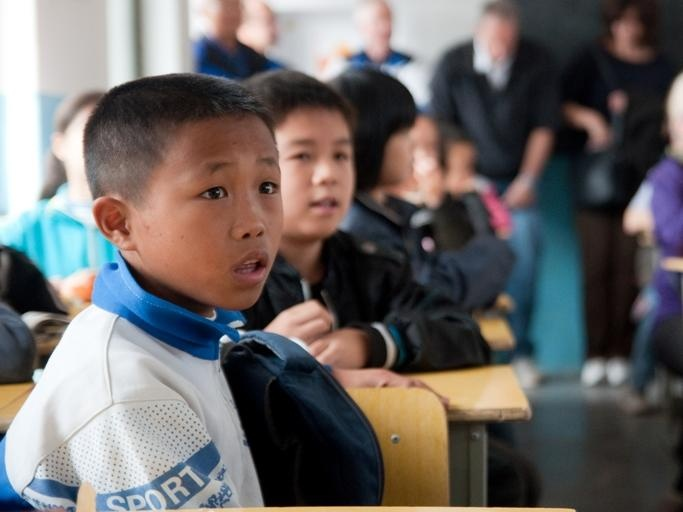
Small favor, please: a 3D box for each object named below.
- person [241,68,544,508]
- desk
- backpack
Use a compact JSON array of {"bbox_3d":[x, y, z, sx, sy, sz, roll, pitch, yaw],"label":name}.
[{"bbox_3d":[0.094,-0.077,1.914,0.651,0.871,0.506,1,3,6],"label":"person"},{"bbox_3d":[-0.140,0.279,1.258,0.526,0.209,0.390,14,-2,-9],"label":"desk"},{"bbox_3d":[-0.029,0.269,1.409,0.110,0.326,0.241,-25,2,-42],"label":"backpack"}]
